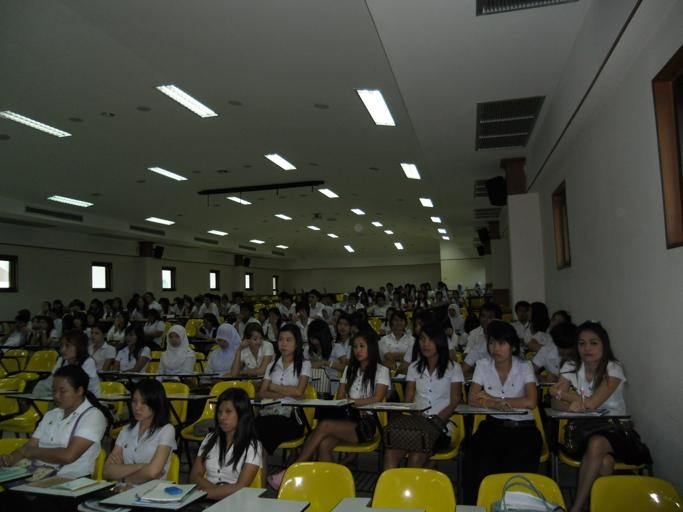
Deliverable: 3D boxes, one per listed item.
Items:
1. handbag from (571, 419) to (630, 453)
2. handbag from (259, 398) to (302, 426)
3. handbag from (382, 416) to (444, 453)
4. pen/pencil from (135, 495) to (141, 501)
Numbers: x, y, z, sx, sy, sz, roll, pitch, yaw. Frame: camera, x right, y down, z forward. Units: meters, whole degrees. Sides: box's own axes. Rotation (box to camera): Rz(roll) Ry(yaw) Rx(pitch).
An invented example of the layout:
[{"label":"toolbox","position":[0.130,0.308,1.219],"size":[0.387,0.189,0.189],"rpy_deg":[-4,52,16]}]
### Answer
[{"label":"handbag","position":[1.981,1.398,3.787],"size":[0.259,0.125,0.274],"rpy_deg":[-3,-7,6]},{"label":"handbag","position":[-0.625,1.503,4.567],"size":[0.326,0.162,0.350],"rpy_deg":[1,-4,18]},{"label":"handbag","position":[0.581,1.453,3.973],"size":[0.273,0.134,0.367],"rpy_deg":[1,5,18]},{"label":"pen/pencil","position":[-1.237,1.484,2.965],"size":[0.020,0.025,0.027],"rpy_deg":[2,-13,-5]}]
